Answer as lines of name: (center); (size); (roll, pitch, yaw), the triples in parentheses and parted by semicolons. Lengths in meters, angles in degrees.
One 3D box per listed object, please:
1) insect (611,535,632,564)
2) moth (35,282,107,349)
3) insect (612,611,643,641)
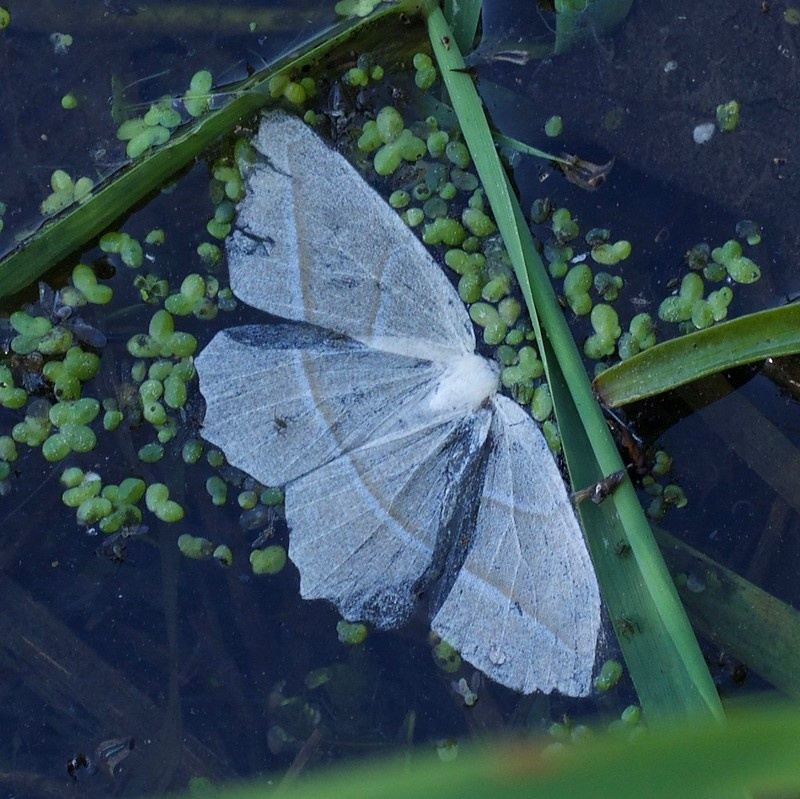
insect: (0.494, 0.333, 2.512); (0.038, 0.033, 0.029); (-24, 43, -8)
moth: (-0.821, -0.211, 2.786); (0.149, 0.149, 0.038); (-55, 18, -16)
insect: (0.510, 0.508, 2.514); (0.053, 0.064, 0.017); (-30, -8, 31)
